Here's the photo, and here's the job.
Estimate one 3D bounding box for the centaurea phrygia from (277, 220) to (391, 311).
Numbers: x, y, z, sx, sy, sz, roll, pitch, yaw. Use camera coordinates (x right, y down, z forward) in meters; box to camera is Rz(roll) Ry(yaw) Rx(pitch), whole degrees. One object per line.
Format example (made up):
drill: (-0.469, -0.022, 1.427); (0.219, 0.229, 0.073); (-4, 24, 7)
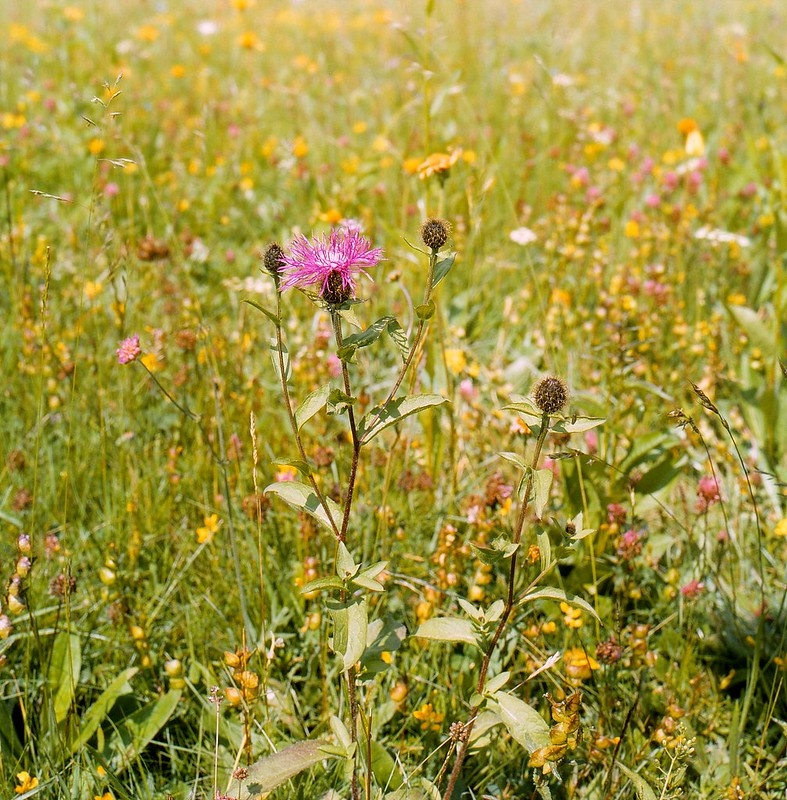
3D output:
centaurea phrygia: (-0.174, -0.368, 3.667); (0.284, 0.241, 0.301); (-5, 33, -1)
